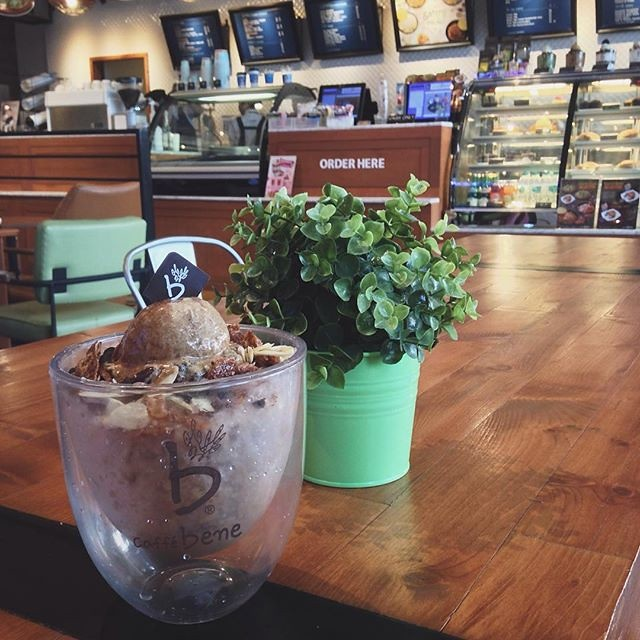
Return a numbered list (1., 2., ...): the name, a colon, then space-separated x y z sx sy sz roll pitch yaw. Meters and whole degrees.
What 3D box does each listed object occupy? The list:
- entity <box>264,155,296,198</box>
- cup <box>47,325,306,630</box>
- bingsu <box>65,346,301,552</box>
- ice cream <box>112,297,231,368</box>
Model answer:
1. entity: -0.330 -1.207 4.944 0.278 0.352 0.302 -1 14 1
2. cup: -0.066 0.083 0.400 0.197 0.169 0.172 -2 6 -1
3. bingsu: -0.070 0.067 0.360 0.128 0.083 0.123 -1 1 3
4. ice cream: -0.094 0.001 0.358 0.073 0.028 0.062 8 20 9
